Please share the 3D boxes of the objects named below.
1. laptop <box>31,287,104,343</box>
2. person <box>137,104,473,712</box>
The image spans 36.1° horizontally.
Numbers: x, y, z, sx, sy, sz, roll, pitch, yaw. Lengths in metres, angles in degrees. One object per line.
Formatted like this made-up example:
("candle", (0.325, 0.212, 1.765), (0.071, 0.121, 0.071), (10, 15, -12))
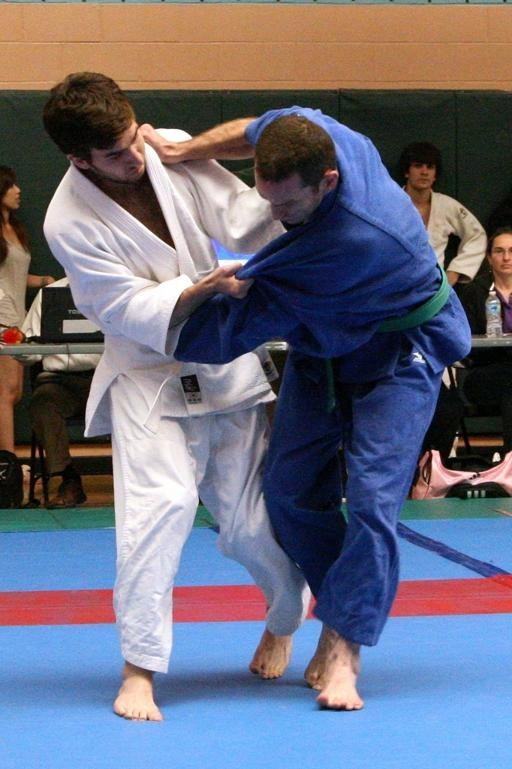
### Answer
("laptop", (-1.017, -0.338, 3.943), (0.390, 0.266, 0.470), (2, 4, 25))
("person", (0.062, 0.025, 1.568), (0.728, 1.039, 0.626), (0, 16, 12))
